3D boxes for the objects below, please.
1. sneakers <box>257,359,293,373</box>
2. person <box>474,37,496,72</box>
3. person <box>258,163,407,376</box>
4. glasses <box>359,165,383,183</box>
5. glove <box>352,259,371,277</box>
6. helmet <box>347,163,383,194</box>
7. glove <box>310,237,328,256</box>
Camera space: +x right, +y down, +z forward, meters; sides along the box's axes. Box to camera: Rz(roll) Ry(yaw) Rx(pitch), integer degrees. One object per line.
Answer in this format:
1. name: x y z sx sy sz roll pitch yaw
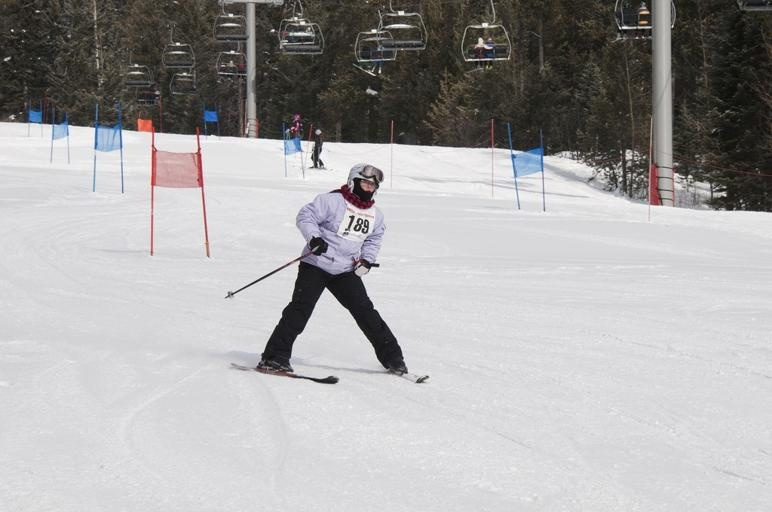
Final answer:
1. sneakers: -1.361 1.335 12.171 0.432 0.173 0.147 3 10 -5
2. person: 3.586 -7.354 35.679 0.675 1.190 2.106 4 6 4
3. person: -0.592 0.157 12.074 1.647 2.575 0.561 0 7 -23
4. glasses: -0.197 -1.009 11.992 0.217 0.140 0.264 34 -10 -23
5. glove: -0.266 0.138 12.097 0.227 0.193 0.170 11 6 -12
6. helmet: -0.235 -1.006 12.070 0.316 0.349 0.403 19 -27 -21
7. glove: -0.805 -0.117 11.754 0.237 0.238 0.280 3 6 -4
